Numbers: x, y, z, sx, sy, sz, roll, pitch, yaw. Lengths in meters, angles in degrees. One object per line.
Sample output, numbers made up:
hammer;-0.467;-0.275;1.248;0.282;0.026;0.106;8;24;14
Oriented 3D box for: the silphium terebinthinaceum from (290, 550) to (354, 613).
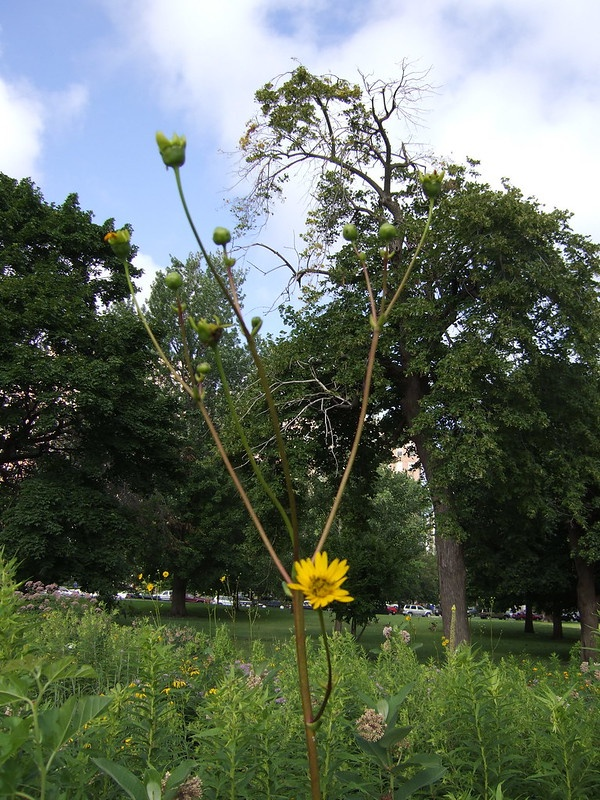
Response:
silphium terebinthinaceum;0.032;0.291;1.119;0.107;0.042;0.105;-3;25;15
